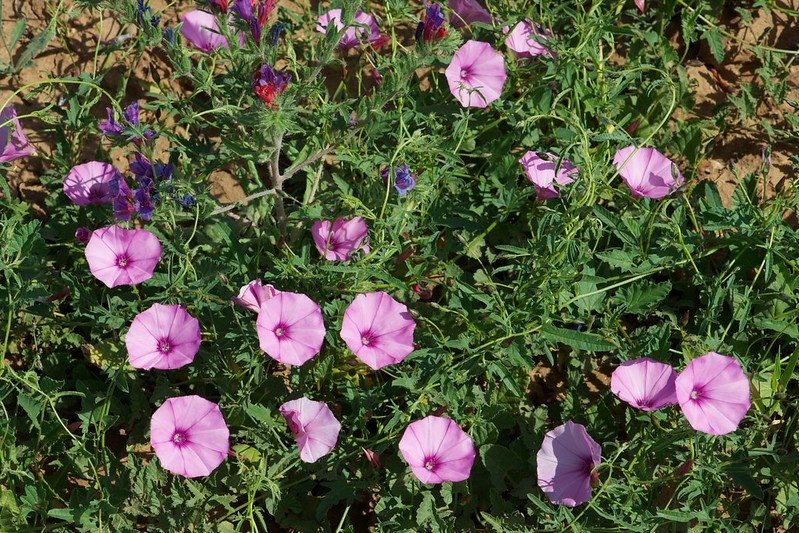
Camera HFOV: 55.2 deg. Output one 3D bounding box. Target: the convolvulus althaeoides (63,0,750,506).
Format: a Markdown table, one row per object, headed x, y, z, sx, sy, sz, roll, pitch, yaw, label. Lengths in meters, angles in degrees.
| x | y | z | sx | sy | sz | roll | pitch | yaw | label |
| --- | --- | --- | --- | --- | --- | --- | --- | --- | --- |
| 0.272 | 0.013 | 3.099 | 2.345 | 1.231 | 1.571 | 11 | 57 | -7 | convolvulus althaeoides |
